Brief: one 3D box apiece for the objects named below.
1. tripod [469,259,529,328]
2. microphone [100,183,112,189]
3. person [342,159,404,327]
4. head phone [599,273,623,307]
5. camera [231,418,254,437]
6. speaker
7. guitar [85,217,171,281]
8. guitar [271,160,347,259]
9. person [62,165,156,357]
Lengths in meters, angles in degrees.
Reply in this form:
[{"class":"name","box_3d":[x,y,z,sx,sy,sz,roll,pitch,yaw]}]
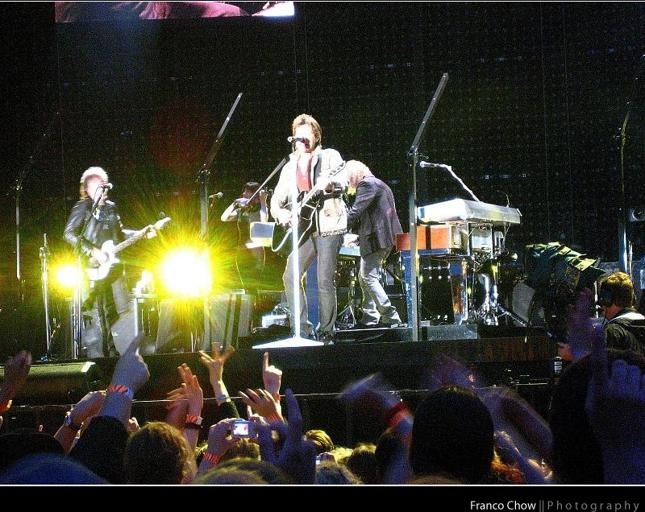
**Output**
[{"class":"tripod","box_3d":[1.742,0.344,7.002,0.603,0.759,0.477,0,-2,7]},{"class":"microphone","box_3d":[-1.992,-0.651,6.714,0.086,0.040,0.121,4,-4,-22]},{"class":"person","box_3d":[0.471,-0.135,6.481,0.485,1.509,0.877,-1,-6,5]},{"class":"head phone","box_3d":[2.006,0.225,5.081,0.230,0.235,0.188,0,-2,29]},{"class":"camera","box_3d":[-0.387,0.830,3.498,0.129,0.095,0.072,-1,-9,4]},{"class":"speaker","box_3d":[-1.776,0.838,4.773,0.518,0.228,0.328,0,7,12]},{"class":"guitar","box_3d":[-1.951,-0.053,7.199,0.635,0.209,0.091,-37,1,-34]},{"class":"guitar","box_3d":[-0.156,-0.368,6.163,0.132,0.413,0.971,9,-49,-42]},{"class":"person","box_3d":[-2.091,0.011,6.898,0.710,1.836,0.530,1,-6,-15]}]
